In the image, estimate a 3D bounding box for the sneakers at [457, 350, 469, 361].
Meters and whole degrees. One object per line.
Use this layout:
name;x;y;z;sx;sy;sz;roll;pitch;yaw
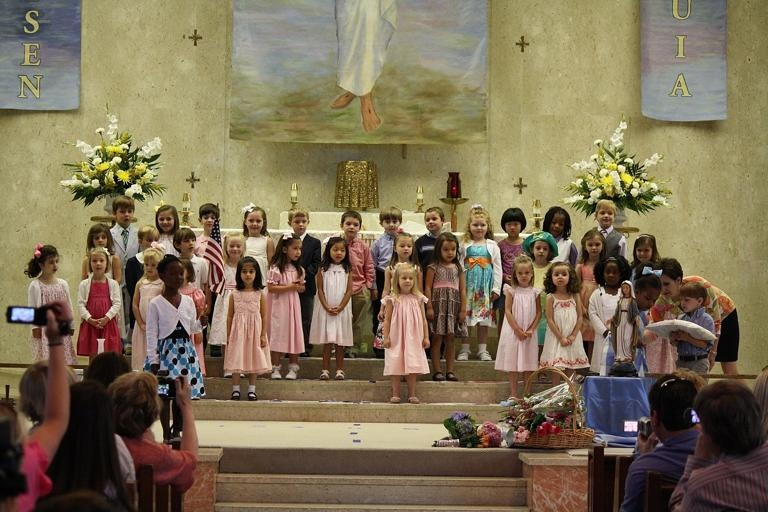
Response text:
sneakers;0.867;1.097;13.892;0.082;0.098;0.249;1;-9;7

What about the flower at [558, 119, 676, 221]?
flower;2.697;-0.829;14.810;0.758;0.956;0.854;3;8;-18

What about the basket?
basket;1.568;1.470;12.119;0.911;0.819;0.603;-2;-6;32

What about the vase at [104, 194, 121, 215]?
vase;-3.227;-0.597;14.669;0.210;0.267;0.214;0;-1;1

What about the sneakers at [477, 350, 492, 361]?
sneakers;1.099;1.105;13.932;0.095;0.073;0.189;1;-6;-12

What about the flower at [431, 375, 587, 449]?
flower;1.271;1.449;12.080;1.125;0.497;0.777;0;-8;0

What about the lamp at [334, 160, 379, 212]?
lamp;-0.365;-0.889;16.152;0.696;0.775;0.435;0;-13;-2

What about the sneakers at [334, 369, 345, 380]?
sneakers;-0.483;1.275;13.432;0.111;0.109;0.063;1;-2;4

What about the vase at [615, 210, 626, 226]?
vase;2.752;-0.441;14.659;0.153;0.150;0.155;3;2;42

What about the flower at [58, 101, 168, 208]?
flower;-3.263;-1.015;14.908;0.996;0.973;0.935;-11;3;-41
